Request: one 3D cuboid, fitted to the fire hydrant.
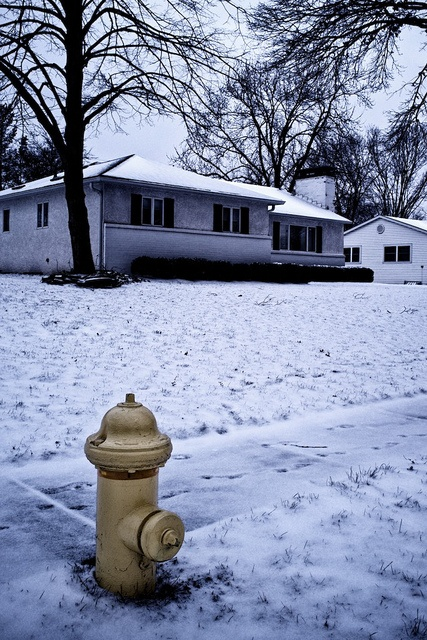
[{"bbox_3d":[-0.383,0.896,4.315,0.543,1.023,0.354,5,6,42],"label":"fire hydrant"}]
